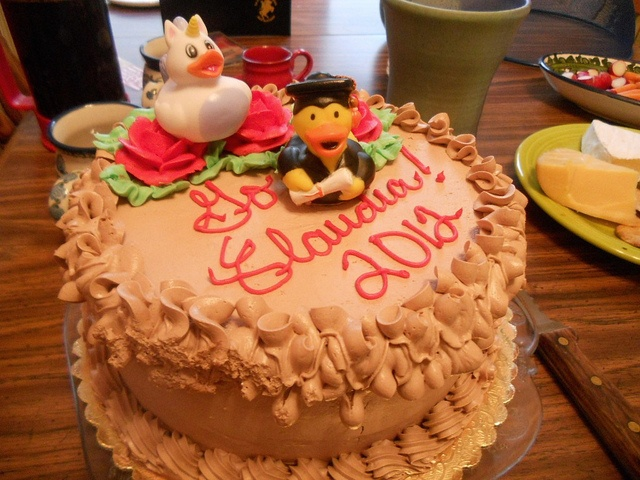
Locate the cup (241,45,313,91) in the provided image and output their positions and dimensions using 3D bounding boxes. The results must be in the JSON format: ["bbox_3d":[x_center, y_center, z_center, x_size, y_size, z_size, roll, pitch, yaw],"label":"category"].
[{"bbox_3d":[-0.195,-0.705,2.454,0.294,0.218,0.207,-7,43,-16],"label":"cup"}]
